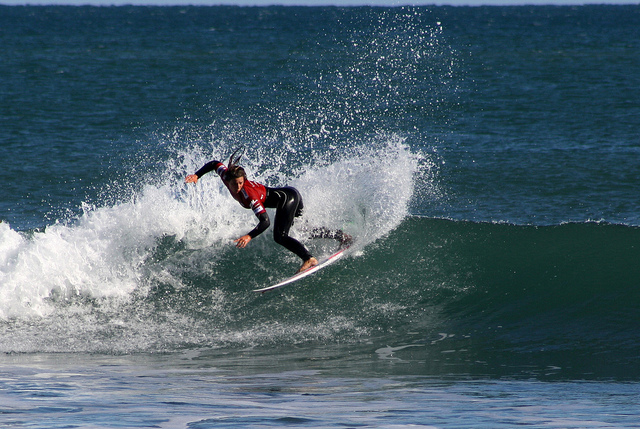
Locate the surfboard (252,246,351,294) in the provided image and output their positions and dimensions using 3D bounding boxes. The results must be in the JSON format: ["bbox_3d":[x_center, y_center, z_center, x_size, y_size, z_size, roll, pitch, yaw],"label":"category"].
[{"bbox_3d":[-0.567,2.518,49.570,4.382,1.737,3.005,-3,21,-1],"label":"surfboard"}]
